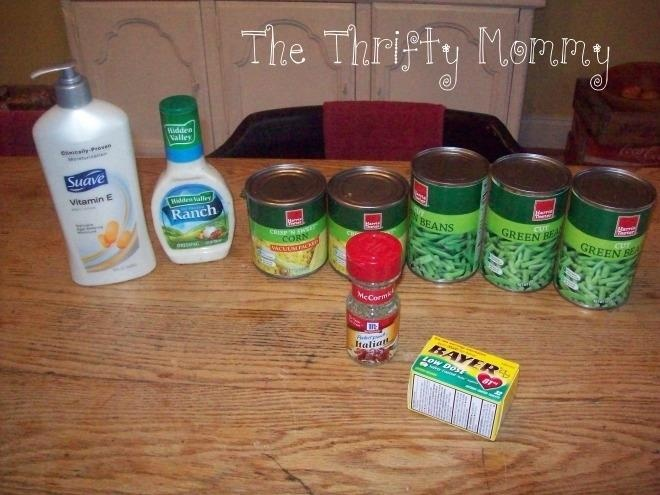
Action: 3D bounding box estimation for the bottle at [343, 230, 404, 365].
[{"bbox_3d":[0.067,0.074,0.826,0.083,0.197,0.089,0,33,0],"label":"bottle"}]

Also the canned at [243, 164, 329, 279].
[{"bbox_3d":[-0.070,-0.041,0.945,0.146,0.139,0.137,22,47,26],"label":"canned"}]

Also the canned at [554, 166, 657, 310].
[{"bbox_3d":[0.426,-0.011,0.875,0.158,0.216,0.132,-7,43,7],"label":"canned"}]

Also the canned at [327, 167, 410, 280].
[{"bbox_3d":[0.027,-0.052,1.026,0.199,0.183,0.171,-4,37,-2],"label":"canned"}]
